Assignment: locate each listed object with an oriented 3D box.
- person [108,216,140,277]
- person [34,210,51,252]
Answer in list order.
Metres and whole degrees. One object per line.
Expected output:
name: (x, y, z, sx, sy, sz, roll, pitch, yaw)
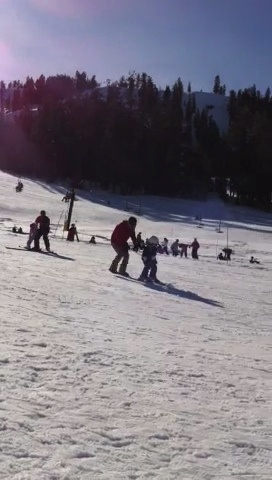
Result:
person: (-0.323, 0.244, 17.813, 0.733, 1.885, 0.795, 16, 44, 11)
person: (-2.501, -0.325, 17.258, 0.397, 1.337, 0.471, -10, 49, -20)
